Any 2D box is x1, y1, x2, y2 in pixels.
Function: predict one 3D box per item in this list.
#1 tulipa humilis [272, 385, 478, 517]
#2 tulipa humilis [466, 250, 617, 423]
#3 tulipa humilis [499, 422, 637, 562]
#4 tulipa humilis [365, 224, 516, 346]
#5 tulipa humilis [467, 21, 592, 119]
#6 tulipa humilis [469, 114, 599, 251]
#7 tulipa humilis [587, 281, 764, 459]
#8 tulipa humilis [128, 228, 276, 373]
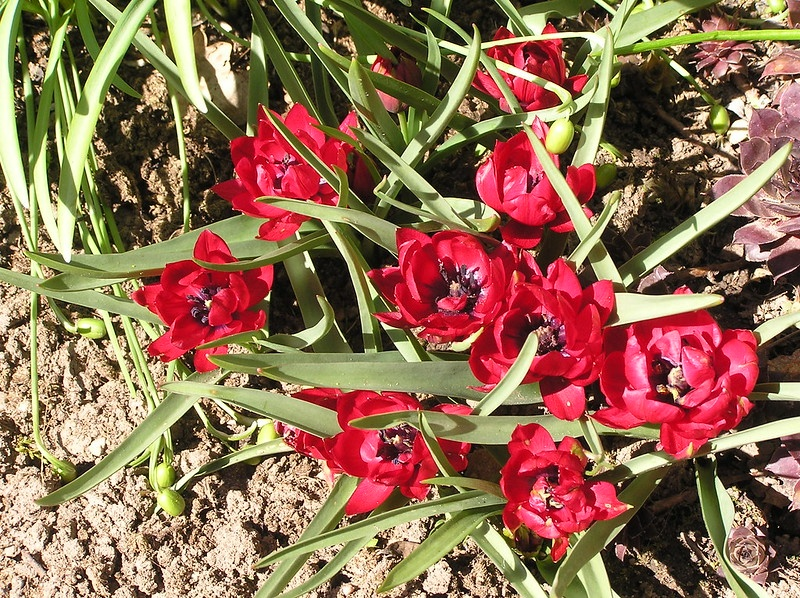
[{"bbox_3d":[-0.044,0.281,1.538,0.326,0.136,0.234,-1,87,14],"label":"tulipa humilis"},{"bbox_3d":[0.269,0.045,1.576,0.125,0.229,0.292,44,41,-17],"label":"tulipa humilis"},{"bbox_3d":[0.269,0.365,1.588,0.241,0.289,0.136,-13,73,2],"label":"tulipa humilis"},{"bbox_3d":[0.119,-0.048,1.670,0.232,0.332,0.160,4,82,-7],"label":"tulipa humilis"},{"bbox_3d":[0.290,-0.500,1.786,0.208,0.116,0.209,-14,101,7],"label":"tulipa humilis"},{"bbox_3d":[0.249,-0.206,1.610,0.192,0.128,0.249,41,84,2],"label":"tulipa humilis"},{"bbox_3d":[0.514,0.128,1.524,0.273,0.271,0.224,25,47,4],"label":"tulipa humilis"},{"bbox_3d":[-0.398,-0.023,1.706,0.136,0.323,0.284,20,77,-29],"label":"tulipa humilis"}]
